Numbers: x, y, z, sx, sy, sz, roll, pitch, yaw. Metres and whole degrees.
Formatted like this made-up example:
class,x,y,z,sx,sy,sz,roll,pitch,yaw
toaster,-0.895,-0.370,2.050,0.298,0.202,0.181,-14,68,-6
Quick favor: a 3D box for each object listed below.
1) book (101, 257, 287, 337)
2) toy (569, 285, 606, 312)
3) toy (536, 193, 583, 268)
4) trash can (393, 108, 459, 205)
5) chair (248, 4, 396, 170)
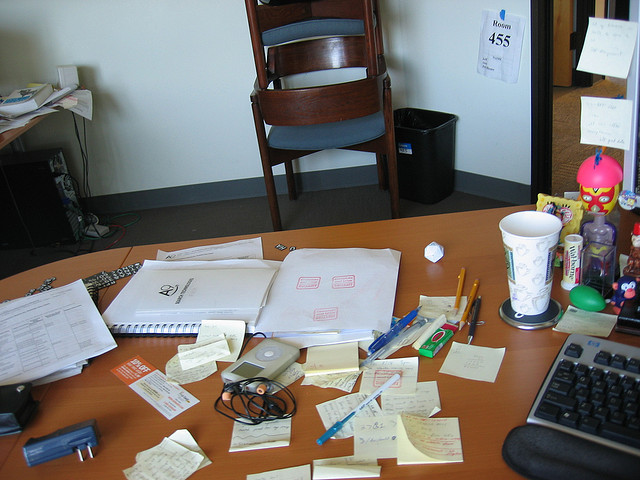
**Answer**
class,x,y,z,sx,sy,sz,roll,pitch,yaw
book,-0.264,0.113,1.026,0.344,0.051,0.247,0,25,10
toy,0.472,0.101,0.848,0.057,0.033,0.036,16,46,-47
toy,0.464,-0.032,0.939,0.092,0.031,0.102,15,66,6
trash can,0.609,-0.461,2.718,0.474,0.495,0.372,13,31,38
chair,0.015,-0.745,2.330,0.661,0.731,0.500,-2,26,8
